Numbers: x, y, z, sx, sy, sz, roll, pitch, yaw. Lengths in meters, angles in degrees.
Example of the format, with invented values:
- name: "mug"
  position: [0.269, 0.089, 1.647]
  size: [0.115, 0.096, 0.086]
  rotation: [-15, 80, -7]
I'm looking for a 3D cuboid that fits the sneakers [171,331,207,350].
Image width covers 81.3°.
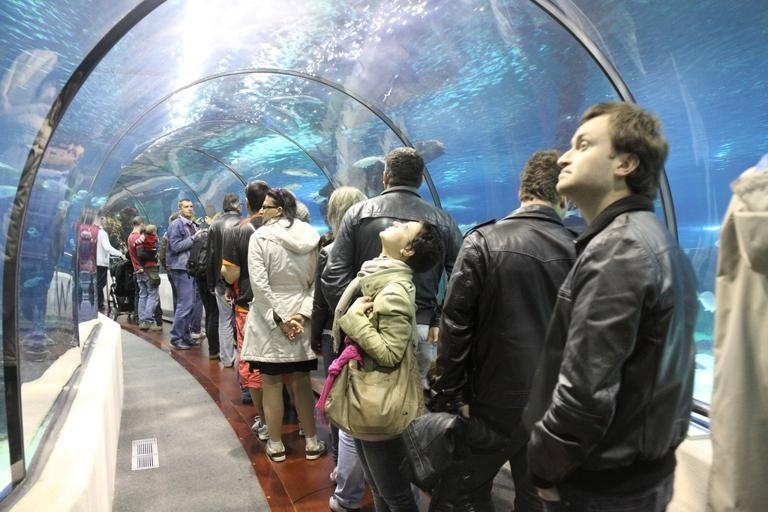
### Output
- name: "sneakers"
  position: [-3.667, 1.611, 8.353]
  size: [0.666, 0.244, 0.228]
  rotation: [-7, -11, 8]

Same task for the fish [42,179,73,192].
- name: "fish"
  position: [-1.926, -0.408, 2.626]
  size: [0.134, 0.045, 0.168]
  rotation: [-7, 2, -39]

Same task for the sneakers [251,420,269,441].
- name: "sneakers"
  position: [-1.312, 1.868, 4.793]
  size: [0.138, 0.128, 0.308]
  rotation: [2, -6, -15]

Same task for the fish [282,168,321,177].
- name: "fish"
  position: [-1.639, -1.705, 9.110]
  size: [0.667, 0.097, 0.297]
  rotation: [5, -2, 37]

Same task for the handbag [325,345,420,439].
- name: "handbag"
  position: [-0.071, 0.827, 2.715]
  size: [0.561, 0.459, 0.198]
  rotation: [-4, 10, -6]

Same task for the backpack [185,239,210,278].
- name: "backpack"
  position: [-3.099, 0.023, 7.475]
  size: [0.434, 0.685, 0.580]
  rotation: [6, -14, -23]

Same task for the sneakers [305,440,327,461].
- name: "sneakers"
  position: [-0.667, 1.900, 4.369]
  size: [0.110, 0.105, 0.247]
  rotation: [-1, -3, 3]

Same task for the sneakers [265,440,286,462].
- name: "sneakers"
  position: [-1.037, 1.893, 4.355]
  size: [0.113, 0.110, 0.280]
  rotation: [1, -2, -22]
